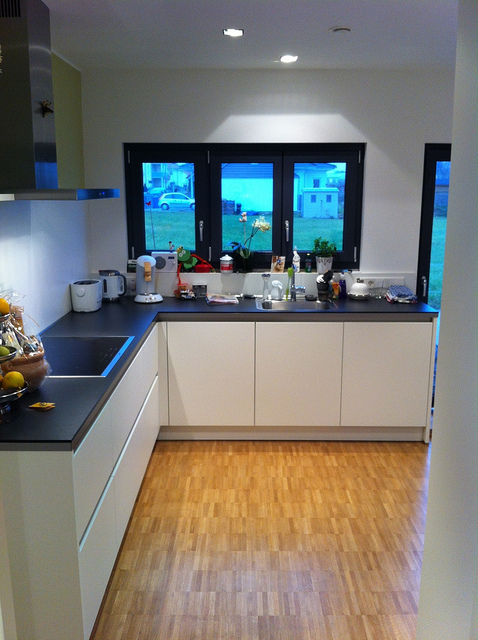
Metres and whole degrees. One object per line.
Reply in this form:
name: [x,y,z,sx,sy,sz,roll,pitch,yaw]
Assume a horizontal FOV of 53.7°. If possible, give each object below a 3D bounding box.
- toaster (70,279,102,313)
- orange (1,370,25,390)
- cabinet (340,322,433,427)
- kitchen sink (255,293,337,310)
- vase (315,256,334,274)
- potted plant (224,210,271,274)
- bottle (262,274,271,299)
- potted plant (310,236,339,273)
toaster: [-1.146,-0.179,3.545,0.148,0.220,0.235,0,6,-2]
orange: [-0.820,0.217,1.713,0.047,0.082,0.059,8,-4,-11]
cabinet: [1.034,0.338,3.692,0.584,1.132,0.619,0,5,5]
kitchen sink: [0.455,-0.146,3.814,0.647,0.105,0.350,3,12,16]
vase: [0.711,-0.460,3.896,0.099,0.147,0.130,4,14,8]
potted plant: [0.063,-0.669,4.029,0.282,0.519,0.246,14,12,11]
bottle: [0.225,-0.282,3.886,0.052,0.199,0.173,0,10,4]
potted plant: [0.715,-0.556,3.990,0.172,0.300,0.153,-2,10,-9]
